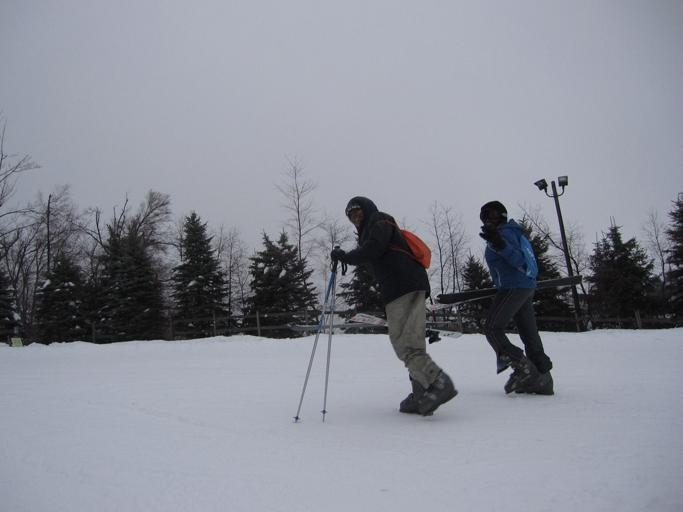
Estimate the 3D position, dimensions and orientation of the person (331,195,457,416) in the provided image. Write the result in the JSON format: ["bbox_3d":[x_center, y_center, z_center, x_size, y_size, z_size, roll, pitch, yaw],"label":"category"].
[{"bbox_3d":[0.598,0.492,6.319,1.180,2.393,0.508,-1,-7,2],"label":"person"}]

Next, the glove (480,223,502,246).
[{"bbox_3d":[1.700,-0.231,6.573,0.239,0.299,0.322,-4,-8,21],"label":"glove"}]

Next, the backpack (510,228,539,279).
[{"bbox_3d":[2.157,-0.012,6.762,0.171,0.540,0.360,-10,-6,29],"label":"backpack"}]
